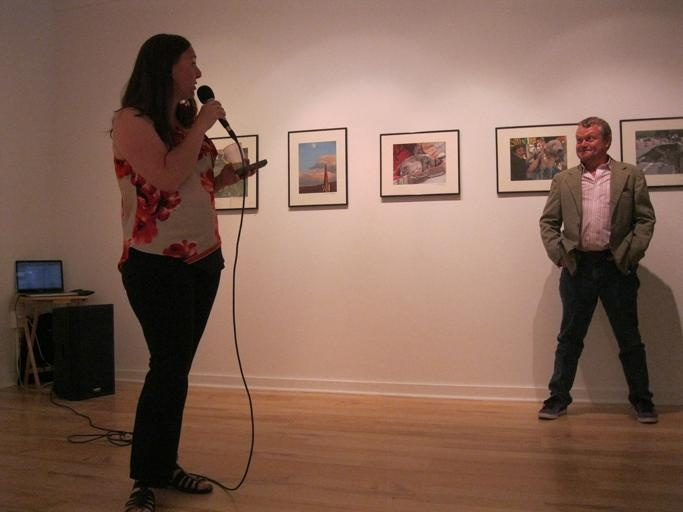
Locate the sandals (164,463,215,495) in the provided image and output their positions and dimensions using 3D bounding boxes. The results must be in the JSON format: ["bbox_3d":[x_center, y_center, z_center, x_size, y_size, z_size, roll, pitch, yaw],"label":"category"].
[{"bbox_3d":[-0.900,1.348,3.216,0.354,0.158,0.143,2,1,7],"label":"sandals"}]

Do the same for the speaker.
[{"bbox_3d":[-2.317,0.854,4.758,0.492,0.812,0.330,-2,6,-18],"label":"speaker"}]

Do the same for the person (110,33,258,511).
[{"bbox_3d":[-0.953,0.034,3.025,0.580,2.529,0.348,-3,6,-26],"label":"person"}]

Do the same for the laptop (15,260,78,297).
[{"bbox_3d":[-2.914,0.192,5.152,0.412,0.388,0.307,1,-15,-43],"label":"laptop"}]

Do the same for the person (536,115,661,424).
[{"bbox_3d":[2.038,0.074,4.232,0.826,2.348,0.467,0,6,8],"label":"person"}]

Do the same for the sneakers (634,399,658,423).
[{"bbox_3d":[2.349,1.211,4.121,0.087,0.100,0.257,-4,-12,7],"label":"sneakers"}]

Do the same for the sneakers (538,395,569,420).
[{"bbox_3d":[1.670,1.201,4.186,0.116,0.157,0.359,-6,-11,32],"label":"sneakers"}]
